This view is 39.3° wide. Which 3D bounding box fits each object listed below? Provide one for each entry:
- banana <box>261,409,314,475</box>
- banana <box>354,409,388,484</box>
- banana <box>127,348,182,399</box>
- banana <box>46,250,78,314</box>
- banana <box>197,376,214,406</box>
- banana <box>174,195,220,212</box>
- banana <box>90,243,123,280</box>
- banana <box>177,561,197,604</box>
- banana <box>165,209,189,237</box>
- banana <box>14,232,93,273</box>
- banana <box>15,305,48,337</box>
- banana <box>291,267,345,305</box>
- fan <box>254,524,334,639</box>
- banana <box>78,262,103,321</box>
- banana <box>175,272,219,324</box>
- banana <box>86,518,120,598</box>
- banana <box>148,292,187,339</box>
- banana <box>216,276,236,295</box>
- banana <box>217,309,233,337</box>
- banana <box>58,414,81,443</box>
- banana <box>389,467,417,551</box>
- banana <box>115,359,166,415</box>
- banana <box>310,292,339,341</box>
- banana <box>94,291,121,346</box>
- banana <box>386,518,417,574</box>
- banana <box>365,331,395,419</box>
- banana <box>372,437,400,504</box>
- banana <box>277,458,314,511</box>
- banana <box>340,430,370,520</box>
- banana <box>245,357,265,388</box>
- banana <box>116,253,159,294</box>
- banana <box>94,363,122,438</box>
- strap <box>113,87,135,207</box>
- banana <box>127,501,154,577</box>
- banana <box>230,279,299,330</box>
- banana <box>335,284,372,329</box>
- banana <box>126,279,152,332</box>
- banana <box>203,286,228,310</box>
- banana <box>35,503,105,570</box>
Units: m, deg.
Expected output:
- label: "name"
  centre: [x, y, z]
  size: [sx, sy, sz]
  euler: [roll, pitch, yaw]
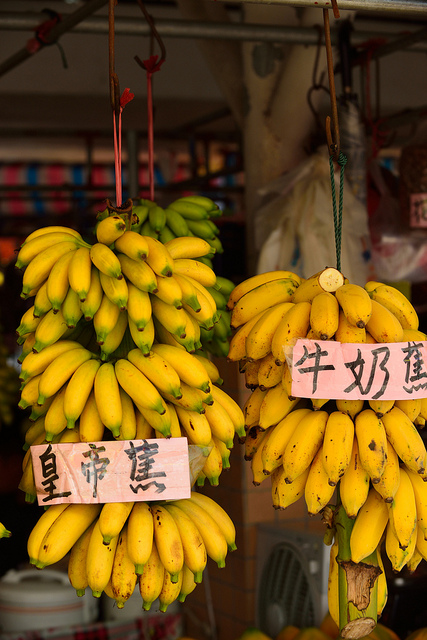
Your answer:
- label: "banana"
  centre: [0.119, 0.214, 1.067]
  size: [0.046, 0.150, 0.052]
  euler: [30, -12, 24]
- label: "banana"
  centre: [0.260, 0.208, 0.995]
  size: [0.042, 0.113, 0.036]
  euler: [-7, -32, 7]
- label: "banana"
  centre: [-0.092, 0.089, 0.998]
  size: [0.053, 0.049, 0.158]
  euler: [-15, 29, -25]
- label: "banana"
  centre: [-0.246, -0.065, 1.009]
  size: [0.036, 0.105, 0.030]
  euler: [35, -32, -32]
- label: "banana"
  centre: [-0.009, 0.127, 1.037]
  size: [0.019, 0.060, 0.021]
  euler: [-23, 33, -17]
- label: "banana"
  centre: [-0.030, -0.285, 1.428]
  size: [0.126, 0.035, 0.037]
  euler: [12, 16, 22]
- label: "banana"
  centre: [-0.170, -0.094, 0.945]
  size: [0.031, 0.031, 0.088]
  euler: [-23, 45, -25]
- label: "banana"
  centre: [-0.049, 0.475, 1.062]
  size: [0.026, 0.089, 0.033]
  euler: [2, 7, 13]
- label: "banana"
  centre: [-0.085, -0.220, 1.357]
  size: [0.036, 0.036, 0.106]
  euler: [-29, 33, -16]
- label: "banana"
  centre: [-0.276, -0.115, 1.077]
  size: [0.141, 0.034, 0.070]
  euler: [-12, 24, -4]
- label: "banana"
  centre: [-0.310, 0.001, 1.062]
  size: [0.028, 0.025, 0.085]
  euler: [-12, 23, 27]
- label: "banana"
  centre: [0.187, -0.054, 1.129]
  size: [0.100, 0.035, 0.051]
  euler: [-21, 23, 29]
- label: "fan"
  centre: [0.230, 0.802, 1.803]
  size: [0.129, 0.355, 0.335]
  euler: [-5, 3, -25]
- label: "banana"
  centre: [-0.201, -0.046, 0.976]
  size: [0.034, 0.099, 0.034]
  euler: [3, 1, -1]
- label: "banana"
  centre: [-0.032, -0.038, 1.025]
  size: [0.022, 0.107, 0.029]
  euler: [-42, -20, -14]
- label: "banana"
  centre: [-0.174, 0.380, 0.955]
  size: [0.046, 0.141, 0.039]
  euler: [26, 33, -9]
- label: "banana"
  centre: [-0.075, -0.012, 0.992]
  size: [0.023, 0.076, 0.025]
  euler: [-38, -5, 30]
- label: "banana"
  centre: [0.031, -0.085, 1.417]
  size: [0.020, 0.025, 0.073]
  euler: [-28, -26, 19]
- label: "banana"
  centre: [0.033, 0.006, 1.362]
  size: [0.017, 0.056, 0.037]
  euler: [-18, -1, 14]
- label: "banana"
  centre: [-0.238, 0.193, 1.030]
  size: [0.020, 0.024, 0.072]
  euler: [31, -60, -26]
- label: "banana"
  centre: [0.311, 0.323, 1.023]
  size: [0.038, 0.135, 0.045]
  euler: [-1, -25, -1]
- label: "banana"
  centre: [-0.129, 0.098, 0.999]
  size: [0.041, 0.130, 0.039]
  euler: [-43, -36, 5]
- label: "banana"
  centre: [0.188, -0.009, 1.017]
  size: [0.040, 0.033, 0.086]
  euler: [-20, 28, 20]
- label: "banana"
  centre: [-0.175, -0.003, 0.974]
  size: [0.028, 0.089, 0.030]
  euler: [4, -23, 6]
- label: "banana"
  centre: [0.324, 0.390, 1.033]
  size: [0.036, 0.118, 0.040]
  euler: [4, 9, 12]
- label: "banana"
  centre: [0.281, 0.094, 1.032]
  size: [0.042, 0.147, 0.053]
  euler: [0, -8, -8]
- label: "banana"
  centre: [0.290, 0.257, 1.029]
  size: [0.035, 0.109, 0.036]
  euler: [12, -25, -29]
- label: "banana"
  centre: [0.139, 0.302, 1.064]
  size: [0.037, 0.115, 0.041]
  euler: [34, -29, 2]
- label: "banana"
  centre: [0.241, 0.258, 1.010]
  size: [0.044, 0.142, 0.040]
  euler: [2, -9, 5]
- label: "banana"
  centre: [0.090, 0.104, 1.182]
  size: [0.019, 0.056, 0.031]
  euler: [19, 7, -33]
- label: "banana"
  centre: [-0.126, -0.079, 1.003]
  size: [0.035, 0.034, 0.105]
  euler: [-7, 45, -46]
- label: "banana"
  centre: [-0.175, 0.128, 0.984]
  size: [0.037, 0.122, 0.040]
  euler: [-37, -46, 19]
- label: "strap"
  centre: [-0.156, -0.313, 1.071]
  size: [0.046, 0.196, 0.029]
  euler: [-2, 3, 12]
- label: "banana"
  centre: [-0.119, 0.342, 0.963]
  size: [0.043, 0.039, 0.144]
  euler: [8, 34, -9]
- label: "banana"
  centre: [0.103, -0.030, 1.146]
  size: [0.123, 0.032, 0.043]
  euler: [-31, -27, 4]
- label: "banana"
  centre: [0.247, -0.026, 1.037]
  size: [0.063, 0.076, 0.116]
  euler: [-3, 2, 4]
- label: "banana"
  centre: [-0.120, -0.024, 0.960]
  size: [0.027, 0.085, 0.028]
  euler: [-10, -24, 4]
- label: "banana"
  centre: [0.012, -0.055, 1.358]
  size: [0.032, 0.019, 0.085]
  euler: [-34, -53, 27]
- label: "banana"
  centre: [-0.230, 0.348, 0.972]
  size: [0.042, 0.038, 0.146]
  euler: [-3, 39, 46]
